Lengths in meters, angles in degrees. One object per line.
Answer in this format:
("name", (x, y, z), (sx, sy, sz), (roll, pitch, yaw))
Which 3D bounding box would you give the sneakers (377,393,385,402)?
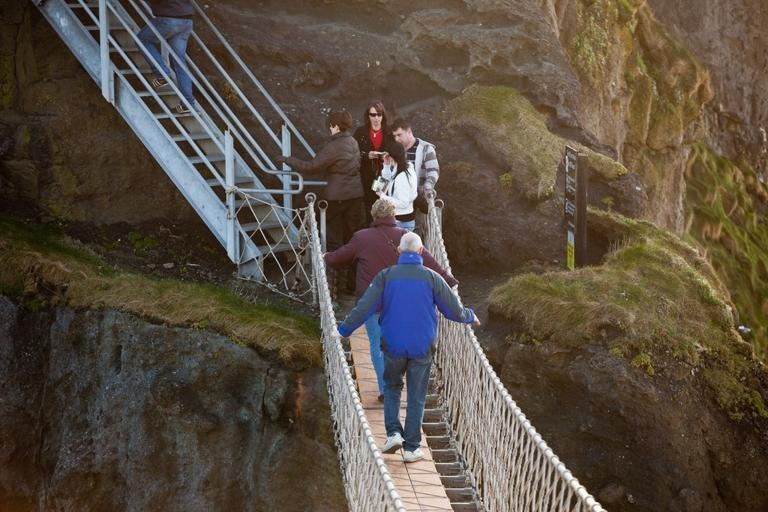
("sneakers", (-0.059, 2.258, 27.225), (0.094, 0.174, 0.059), (3, 11, -2))

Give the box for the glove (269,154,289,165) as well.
("glove", (-1.847, -1.709, 30.387), (0.099, 0.130, 0.421), (24, 13, -28))

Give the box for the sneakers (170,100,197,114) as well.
("sneakers", (-3.559, -2.629, 30.297), (0.517, 0.256, 0.205), (3, 10, 0))

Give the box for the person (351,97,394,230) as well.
("person", (-0.139, -1.455, 29.900), (0.767, 2.402, 0.767), (1, 32, 0))

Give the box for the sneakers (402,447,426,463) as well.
("sneakers", (0.453, 3.100, 26.614), (0.150, 0.182, 0.392), (4, 5, 33))

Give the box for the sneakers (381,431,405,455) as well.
("sneakers", (0.131, 2.917, 26.560), (0.167, 0.456, 0.218), (7, 55, -25))

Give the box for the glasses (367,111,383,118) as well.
("glasses", (-0.155, -2.442, 29.377), (0.234, 0.144, 0.119), (4, 23, 3))
